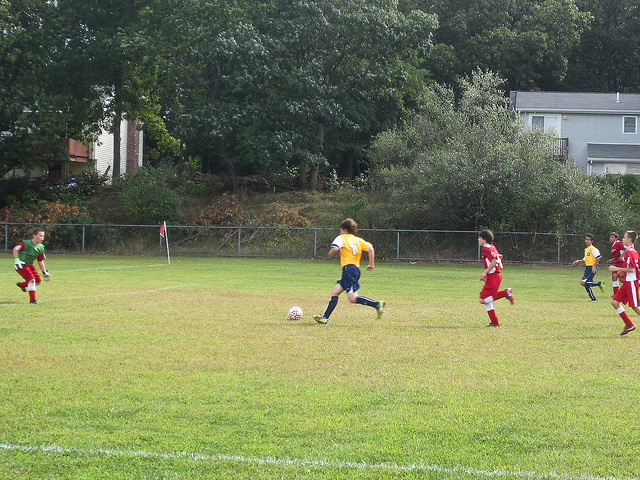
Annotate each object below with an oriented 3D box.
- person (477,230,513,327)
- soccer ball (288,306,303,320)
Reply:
[{"bbox_3d":[6.224,1.341,35.299,1.078,3.275,1.163,2,11,9],"label":"person"},{"bbox_3d":[-0.866,2.607,35.503,0.453,0.427,0.430,2,13,0],"label":"soccer ball"}]
